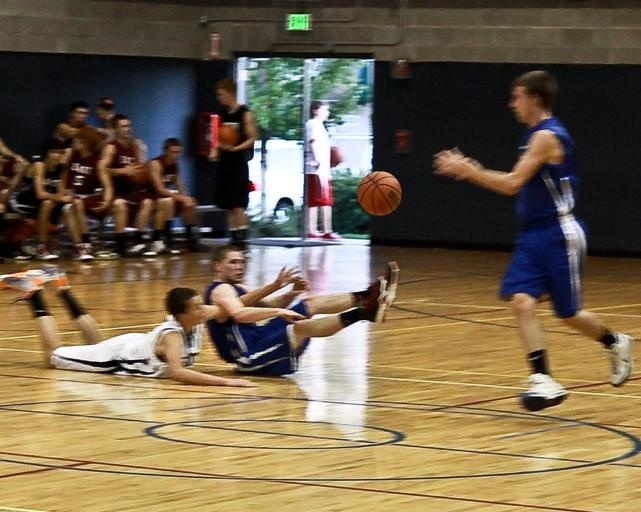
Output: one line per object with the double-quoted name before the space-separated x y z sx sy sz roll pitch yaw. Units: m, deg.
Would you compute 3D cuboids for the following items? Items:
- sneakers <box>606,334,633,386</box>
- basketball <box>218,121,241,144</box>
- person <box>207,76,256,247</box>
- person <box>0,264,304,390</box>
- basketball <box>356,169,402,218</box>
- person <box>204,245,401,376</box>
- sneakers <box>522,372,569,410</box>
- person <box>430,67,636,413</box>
"sneakers" 1.451 0.505 3.520 0.160 0.245 0.103 -1 -3 3
"basketball" -1.327 -1.761 10.333 0.299 0.325 0.134 4 10 29
"person" -1.235 -1.300 10.438 0.573 2.453 0.556 -2 9 -7
"person" -1.037 0.380 3.962 1.820 0.475 0.636 4 -1 10
"basketball" 0.419 -0.450 5.157 0.289 0.303 0.318 0 8 2
"person" -0.122 0.296 3.848 1.060 0.501 0.413 -9 9 12
"sneakers" 0.933 0.525 3.054 0.084 0.132 0.194 -32 47 2
"person" 1.015 -0.075 3.238 0.991 1.560 0.717 0 9 6
